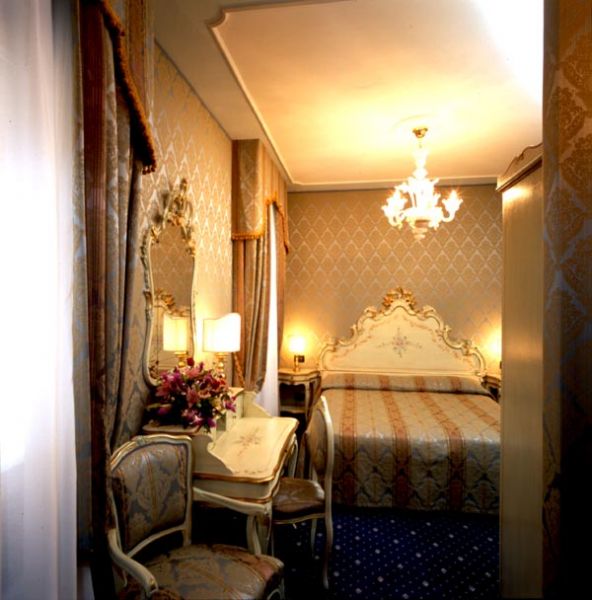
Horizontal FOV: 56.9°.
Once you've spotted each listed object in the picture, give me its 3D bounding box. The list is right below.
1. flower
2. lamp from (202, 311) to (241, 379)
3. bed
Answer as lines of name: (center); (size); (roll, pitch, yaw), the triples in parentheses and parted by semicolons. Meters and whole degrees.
flower: (-0.523, 0.448, 2.792); (0.331, 0.319, 0.351); (-5, -1, -13)
lamp: (-0.454, 0.261, 3.245); (0.191, 0.418, 0.220); (0, 12, 4)
bed: (0.916, 0.755, 4.343); (1.014, 1.281, 1.713); (-1, -1, 12)
